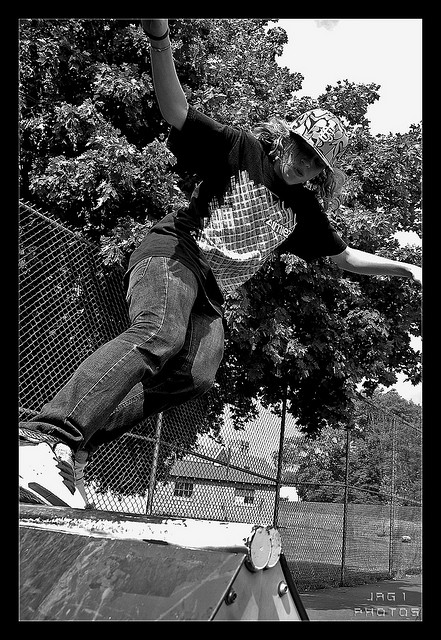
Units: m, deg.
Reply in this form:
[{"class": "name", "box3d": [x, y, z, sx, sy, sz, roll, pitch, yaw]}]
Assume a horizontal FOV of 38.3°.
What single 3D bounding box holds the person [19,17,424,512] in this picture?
[{"class": "person", "box3d": [-0.031, -0.113, 1.979, 0.484, 1.236, 1.291, 3, 5, 43]}]
